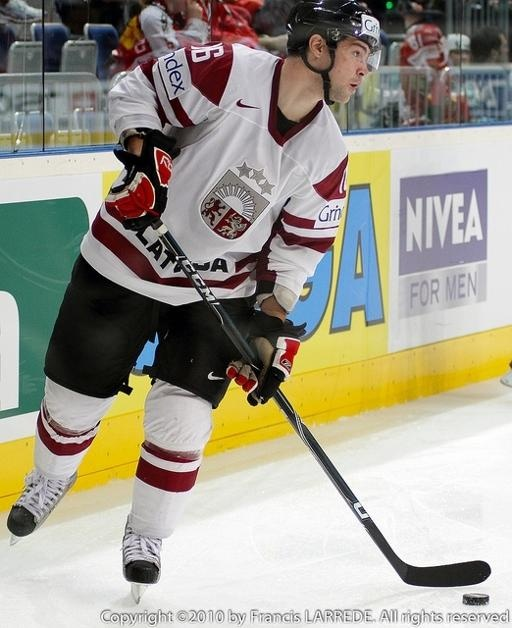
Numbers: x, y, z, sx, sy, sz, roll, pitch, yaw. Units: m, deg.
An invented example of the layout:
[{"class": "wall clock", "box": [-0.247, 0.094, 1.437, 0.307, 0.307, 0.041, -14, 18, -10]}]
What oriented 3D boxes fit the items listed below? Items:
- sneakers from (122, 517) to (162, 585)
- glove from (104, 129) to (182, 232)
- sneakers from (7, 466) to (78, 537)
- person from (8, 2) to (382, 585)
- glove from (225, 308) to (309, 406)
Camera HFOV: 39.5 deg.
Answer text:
[{"class": "sneakers", "box": [-0.276, 0.569, 1.734, 0.065, 0.072, 0.182, 9, 7, -16]}, {"class": "glove", "box": [-0.237, -0.267, 1.517, 0.101, 0.198, 0.164, 23, -8, -4]}, {"class": "sneakers", "box": [-0.540, 0.479, 1.948, 0.096, 0.108, 0.257, 36, 32, -1]}, {"class": "person", "box": [-0.174, -0.044, 1.698, 0.873, 1.377, 0.383, 2, 7, 8]}, {"class": "glove", "box": [-0.004, 0.107, 1.780, 0.107, 0.189, 0.227, -17, 31, 51]}]
